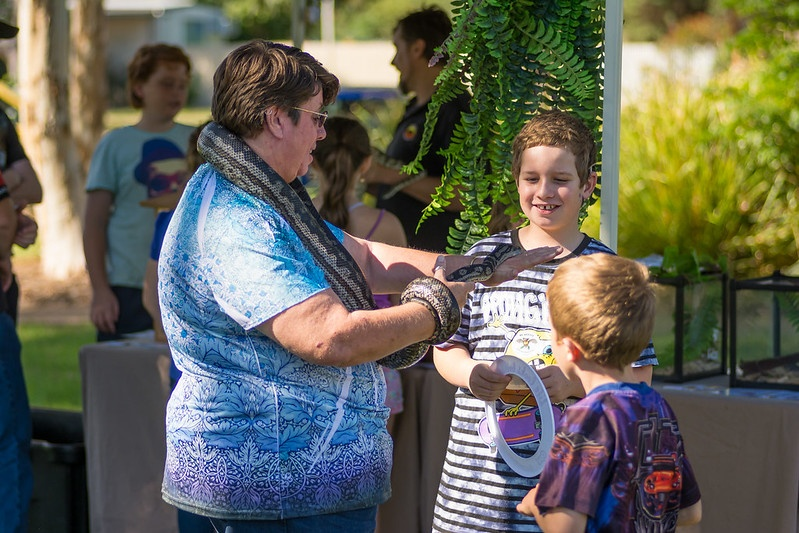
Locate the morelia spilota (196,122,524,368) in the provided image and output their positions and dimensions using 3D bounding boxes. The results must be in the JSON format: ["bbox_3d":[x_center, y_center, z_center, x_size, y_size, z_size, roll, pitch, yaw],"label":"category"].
[{"bbox_3d":[-0.726,-0.402,12.873,0.250,2.179,0.445,-40,-4,-33],"label":"morelia spilota"}]
